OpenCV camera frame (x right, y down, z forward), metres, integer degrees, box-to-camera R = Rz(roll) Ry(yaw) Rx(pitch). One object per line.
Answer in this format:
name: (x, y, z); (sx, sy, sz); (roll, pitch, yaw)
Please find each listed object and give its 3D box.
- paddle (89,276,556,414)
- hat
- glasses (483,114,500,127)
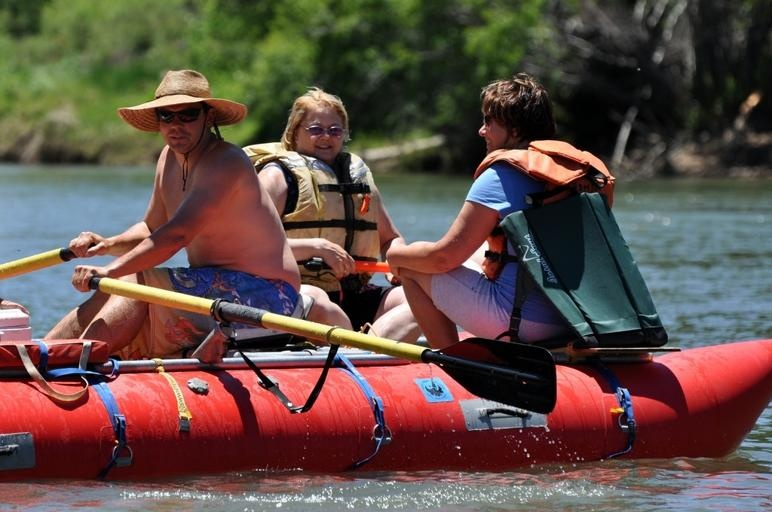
paddle: (-0.507, 0.694, 10.694); (3.881, 0.371, 0.422); (9, 8, 2)
hat: (-1.565, -1.240, 11.328); (0.703, 0.248, 0.697); (-7, -15, 0)
glasses: (0.816, -1.070, 11.009); (0.107, 0.052, 0.086); (-1, 8, -19)
